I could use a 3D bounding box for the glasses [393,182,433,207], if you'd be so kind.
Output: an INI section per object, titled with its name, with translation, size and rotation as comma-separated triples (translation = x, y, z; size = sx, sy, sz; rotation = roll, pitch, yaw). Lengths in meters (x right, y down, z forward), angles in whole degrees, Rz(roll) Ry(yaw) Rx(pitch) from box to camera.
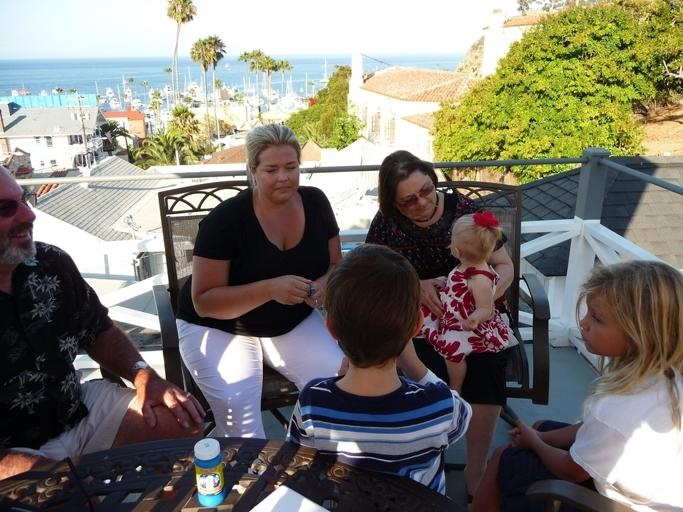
[glasses]
translation = 0.369, -0.297, 2.379
size = 0.182, 0.114, 0.069
rotation = 1, 21, 7

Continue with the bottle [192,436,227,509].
[bottle]
translation = -0.365, 0.593, 1.315
size = 0.082, 0.152, 0.132
rotation = -8, 22, -18

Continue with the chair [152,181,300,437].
[chair]
translation = -0.559, 0.355, 2.491
size = 0.785, 1.444, 0.866
rotation = -7, 11, -30

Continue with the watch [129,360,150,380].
[watch]
translation = -0.864, 0.480, 2.012
size = 0.058, 0.059, 0.059
rotation = 6, 27, -14
